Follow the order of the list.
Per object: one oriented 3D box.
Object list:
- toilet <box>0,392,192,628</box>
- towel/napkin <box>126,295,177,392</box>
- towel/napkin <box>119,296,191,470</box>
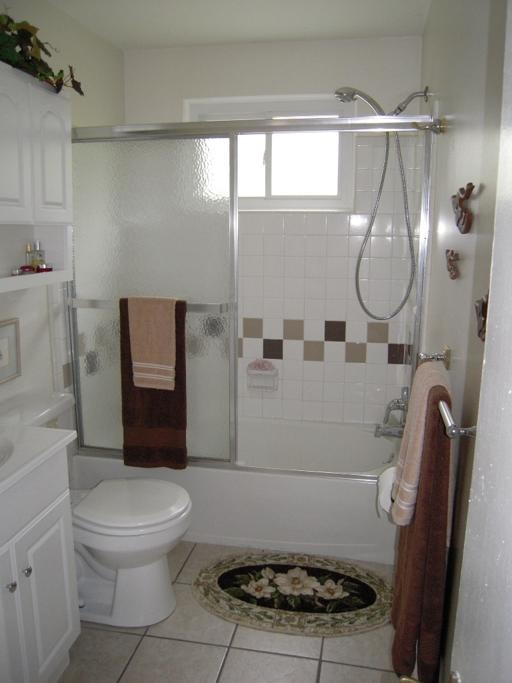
[{"bbox_3d":[-0.492,0.613,2.418,0.817,1.093,0.577,0,14,-2],"label":"toilet"},{"bbox_3d":[-0.462,0.009,2.409,0.204,0.450,0.048,2,25,-3],"label":"towel/napkin"},{"bbox_3d":[-0.471,0.195,2.469,0.308,0.846,0.142,3,18,4],"label":"towel/napkin"}]
